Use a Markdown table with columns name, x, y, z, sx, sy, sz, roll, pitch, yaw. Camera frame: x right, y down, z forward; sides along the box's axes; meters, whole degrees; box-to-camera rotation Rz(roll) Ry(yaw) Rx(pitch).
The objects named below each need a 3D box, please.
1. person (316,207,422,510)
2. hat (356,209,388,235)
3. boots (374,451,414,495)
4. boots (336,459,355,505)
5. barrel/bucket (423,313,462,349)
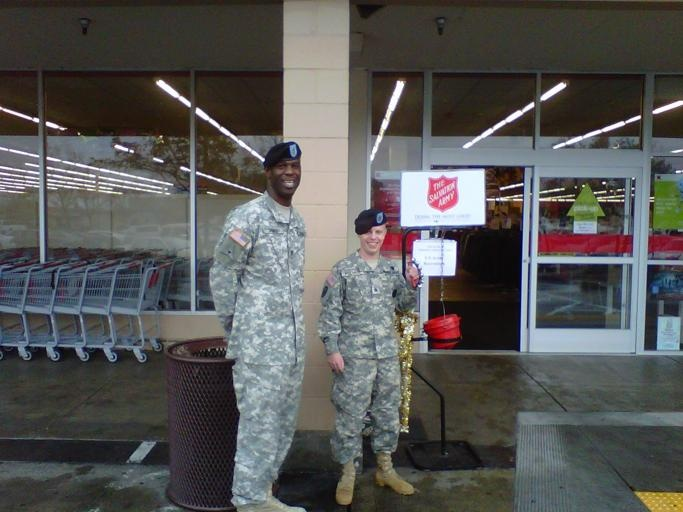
| name | x | y | z | sx | sy | sz | roll | pitch | yaw |
| --- | --- | --- | --- | --- | --- | --- | --- | --- | --- |
| person | 0.238 | 1.092 | 5.816 | 0.884 | 2.162 | 0.745 | -1 | 14 | -4 |
| hat | 0.255 | -0.333 | 5.820 | 0.255 | 0.098 | 0.216 | -10 | 19 | 35 |
| boots | 0.529 | 2.002 | 5.977 | 0.508 | 0.360 | 0.203 | 2 | 8 | 40 |
| boots | 0.030 | 2.029 | 5.800 | 0.181 | 0.340 | 0.306 | 1 | 13 | 1 |
| barrel/bucket | 0.958 | 0.733 | 6.206 | 0.379 | 0.299 | 0.397 | -6 | 2 | 0 |
